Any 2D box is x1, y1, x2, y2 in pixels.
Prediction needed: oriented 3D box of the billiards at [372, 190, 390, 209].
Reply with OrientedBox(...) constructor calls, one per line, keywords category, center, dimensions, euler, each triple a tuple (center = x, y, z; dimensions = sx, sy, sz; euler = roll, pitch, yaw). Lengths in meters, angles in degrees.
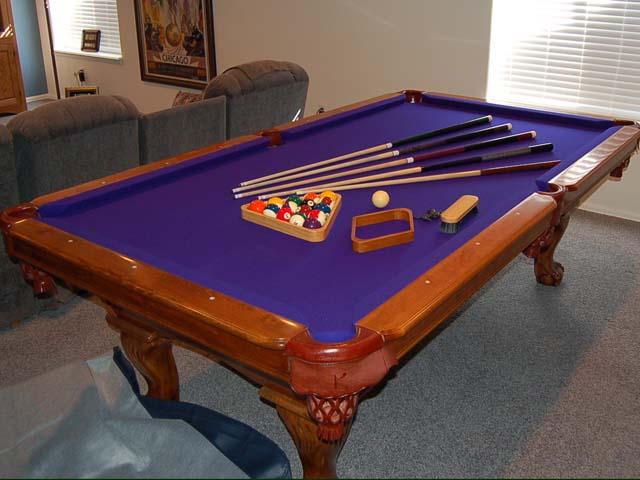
OrientedBox(category="billiards", center=(0.237, -0.159, 1.933), dimensions=(0.071, 0.079, 0.069), euler=(0, 27, -2))
